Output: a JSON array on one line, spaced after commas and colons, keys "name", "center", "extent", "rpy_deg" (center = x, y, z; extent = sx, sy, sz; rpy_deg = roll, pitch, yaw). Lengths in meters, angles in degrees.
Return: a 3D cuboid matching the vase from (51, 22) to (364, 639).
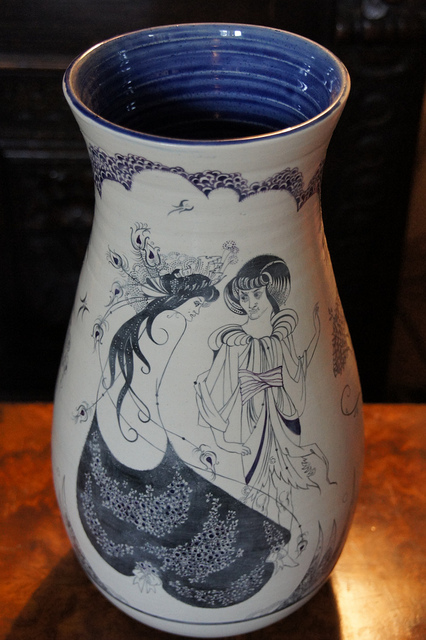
[{"name": "vase", "center": [-0.001, 0.009, 0.370], "extent": [0.171, 0.300, 0.212], "rpy_deg": [-2, 29, 1]}]
